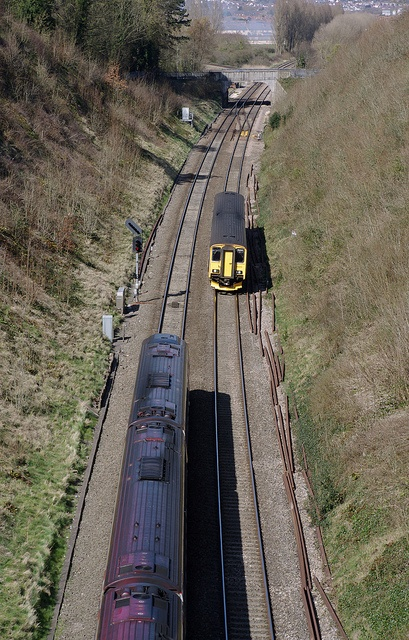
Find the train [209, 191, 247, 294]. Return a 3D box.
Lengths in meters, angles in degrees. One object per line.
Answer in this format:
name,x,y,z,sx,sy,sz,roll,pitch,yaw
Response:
train,1.360,-4.913,34.016,1.273,1.810,6.440,1,42,4
